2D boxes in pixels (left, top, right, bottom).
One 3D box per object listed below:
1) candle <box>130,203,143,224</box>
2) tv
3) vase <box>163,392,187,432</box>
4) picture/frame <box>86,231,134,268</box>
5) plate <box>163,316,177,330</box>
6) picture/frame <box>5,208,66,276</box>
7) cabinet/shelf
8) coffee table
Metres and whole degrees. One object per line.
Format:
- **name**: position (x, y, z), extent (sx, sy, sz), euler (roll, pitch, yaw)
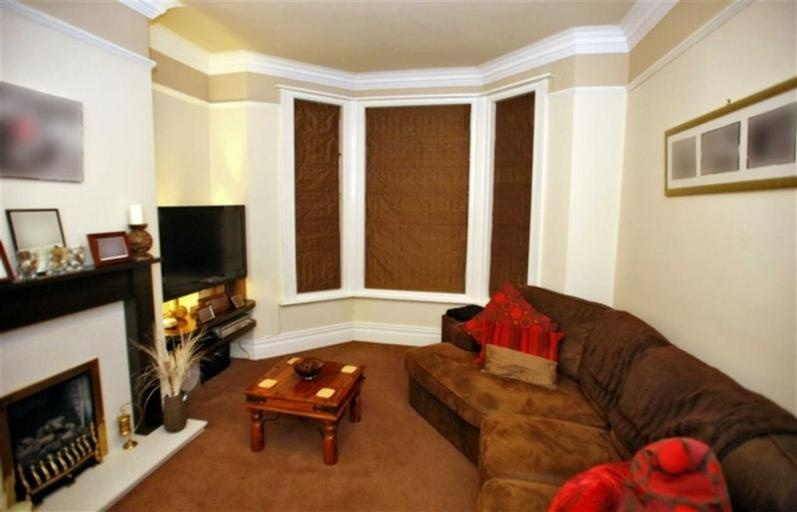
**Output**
- **candle**: position (-1.962, -0.310, 3.849), extent (0.114, 0.162, 0.103), euler (-8, 10, -31)
- **tv**: position (-1.793, -0.049, 4.637), extent (0.094, 0.743, 0.928), euler (3, 6, 23)
- **vase**: position (-1.751, 1.219, 4.015), extent (0.168, 0.302, 0.122), euler (-7, 10, -25)
- **picture/frame**: position (-2.088, -0.045, 3.690), extent (0.026, 0.229, 0.252), euler (-15, 0, 31)
- **plate**: position (-2.026, 0.597, 4.574), extent (0.110, 0.065, 0.137), euler (-6, 9, -24)
- **picture/frame**: position (-2.384, -0.088, 3.348), extent (0.024, 0.566, 0.418), euler (-6, 3, 33)
- **cabinet/shelf**: position (-1.747, 0.655, 4.702), extent (0.554, 0.822, 0.902), euler (2, 12, 18)
- **coffee table**: position (-0.740, 1.181, 4.134), extent (0.836, 0.667, 0.663), euler (0, 9, 12)
